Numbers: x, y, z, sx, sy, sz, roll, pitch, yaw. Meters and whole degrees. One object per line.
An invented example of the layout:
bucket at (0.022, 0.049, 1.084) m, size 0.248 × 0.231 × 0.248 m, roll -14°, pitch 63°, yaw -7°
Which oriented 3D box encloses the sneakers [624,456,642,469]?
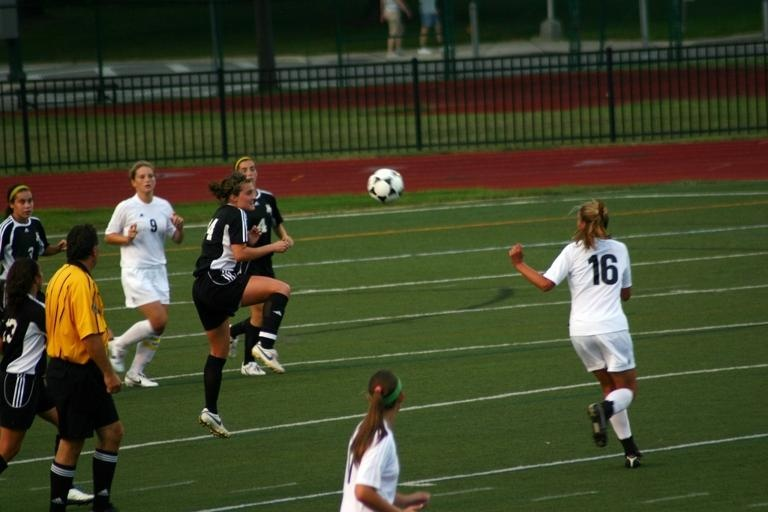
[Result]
sneakers at (3.886, 3.237, 22.456) m, size 0.138 × 0.111 × 0.276 m, roll 2°, pitch 10°, yaw 13°
